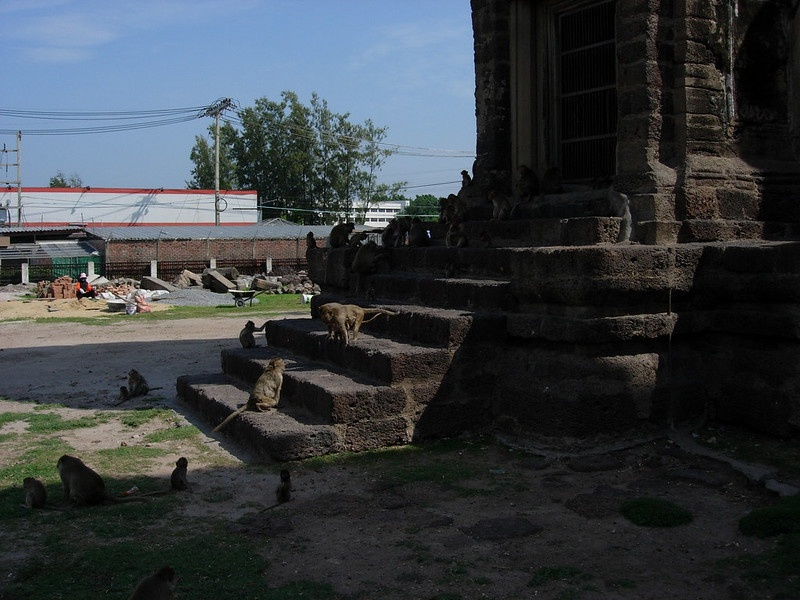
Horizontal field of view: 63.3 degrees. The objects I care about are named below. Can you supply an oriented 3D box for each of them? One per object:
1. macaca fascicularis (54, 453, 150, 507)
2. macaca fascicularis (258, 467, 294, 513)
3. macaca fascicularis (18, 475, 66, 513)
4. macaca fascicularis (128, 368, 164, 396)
[{"bbox_3d":[-2.360,1.366,4.949,0.770,0.317,0.216,8,-2,14],"label":"macaca fascicularis"},{"bbox_3d":[-0.906,1.434,5.001,0.175,0.255,0.271,9,17,37],"label":"macaca fascicularis"},{"bbox_3d":[-2.697,1.421,4.895,0.488,0.202,0.149,14,3,36],"label":"macaca fascicularis"},{"bbox_3d":[-3.291,1.032,8.236,0.297,0.320,0.521,0,6,-1],"label":"macaca fascicularis"}]
